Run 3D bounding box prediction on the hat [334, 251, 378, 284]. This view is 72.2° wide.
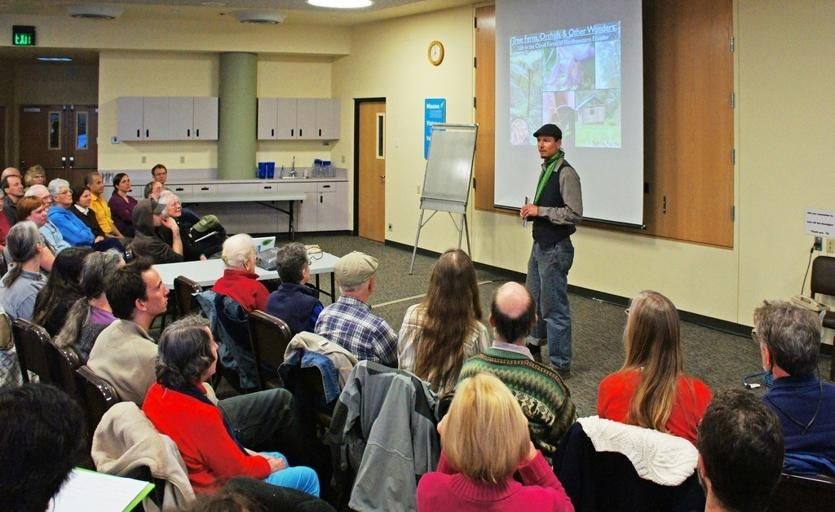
[{"bbox_3d":[-0.410,0.145,3.808,0.297,0.324,0.359,2,-3,-4],"label":"hat"}]

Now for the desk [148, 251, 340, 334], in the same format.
[{"bbox_3d":[-1.936,0.178,5.510,1.515,0.769,0.774,-3,14,-34],"label":"desk"}]

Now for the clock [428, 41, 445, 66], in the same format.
[{"bbox_3d":[0.286,-3.335,9.439,0.025,0.415,0.404,-4,9,-41],"label":"clock"}]

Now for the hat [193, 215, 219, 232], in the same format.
[{"bbox_3d":[-2.568,-0.391,6.910,0.168,0.105,0.239,25,41,36],"label":"hat"}]

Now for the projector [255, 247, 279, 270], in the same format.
[{"bbox_3d":[-1.452,0.041,5.542,0.265,0.110,0.360,-2,8,-30],"label":"projector"}]

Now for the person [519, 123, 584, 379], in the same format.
[{"bbox_3d":[1.223,-0.074,5.337,0.522,2.262,0.626,3,7,14],"label":"person"}]

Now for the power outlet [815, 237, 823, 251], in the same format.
[{"bbox_3d":[3.852,-0.113,5.497,0.070,0.128,0.043,6,8,32],"label":"power outlet"}]

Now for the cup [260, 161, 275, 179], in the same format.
[{"bbox_3d":[-3.068,-1.716,11.554,0.336,0.367,0.205,0,3,-36],"label":"cup"}]
